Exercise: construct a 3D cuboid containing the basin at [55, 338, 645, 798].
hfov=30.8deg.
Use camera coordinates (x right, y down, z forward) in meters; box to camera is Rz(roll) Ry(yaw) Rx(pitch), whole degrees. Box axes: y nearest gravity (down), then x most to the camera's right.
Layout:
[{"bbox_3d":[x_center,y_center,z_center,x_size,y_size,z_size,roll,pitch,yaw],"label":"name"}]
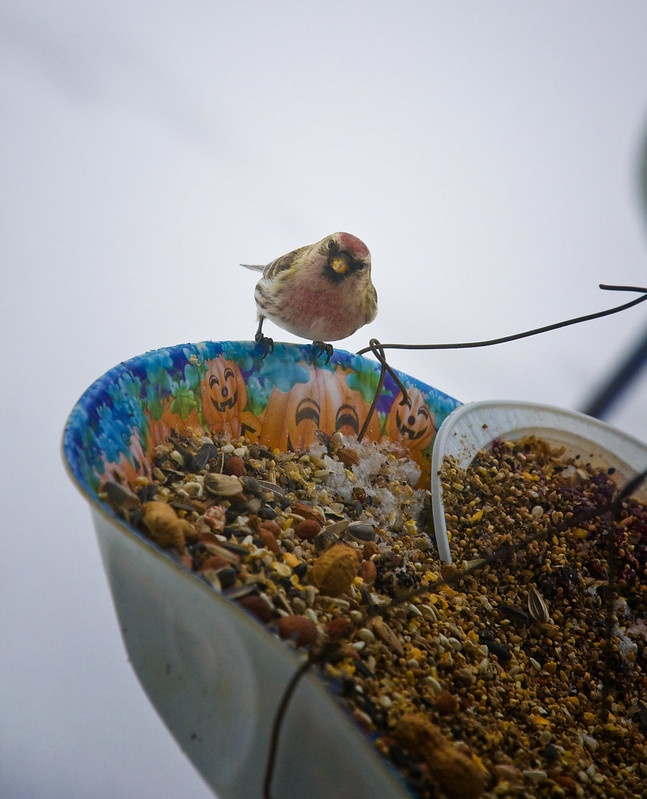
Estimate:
[{"bbox_3d":[-0.095,0.053,1.658,0.776,0.252,0.718,17,17,-5],"label":"basin"}]
